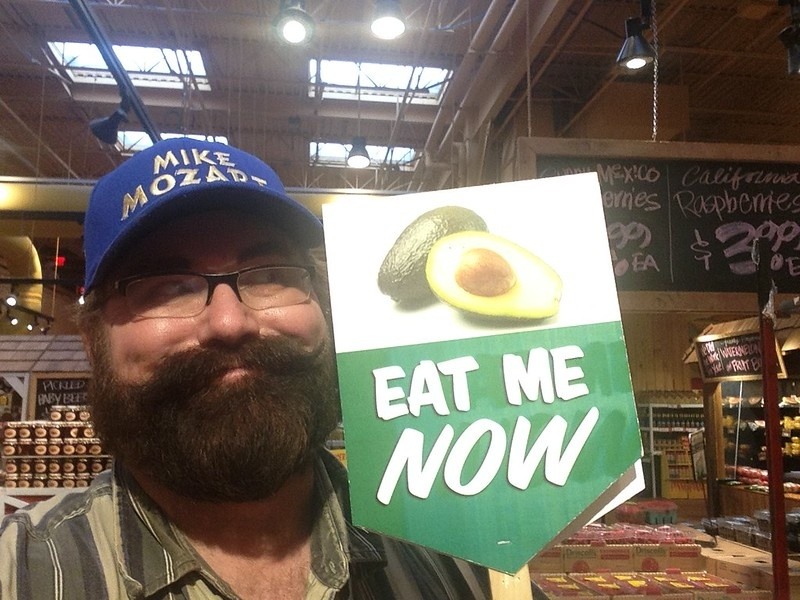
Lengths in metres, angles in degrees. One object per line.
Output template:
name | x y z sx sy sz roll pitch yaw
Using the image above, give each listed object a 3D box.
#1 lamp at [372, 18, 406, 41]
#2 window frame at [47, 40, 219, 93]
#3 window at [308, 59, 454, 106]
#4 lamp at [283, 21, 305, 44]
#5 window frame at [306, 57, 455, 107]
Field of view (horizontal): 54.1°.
lamp | -0.103 -2.281 6.567 0.249 0.113 0.320 -2 -8 -13
window frame | -3.326 -2.844 9.793 1.800 0.439 1.077 -3 -8 -6
window | -0.293 -2.817 10.167 1.354 0.298 0.743 0 -3 -6
lamp | -0.854 -2.156 6.332 0.191 0.120 0.164 -1 -8 -14
window frame | -0.340 -2.819 10.175 1.376 0.250 0.740 0 -3 -5
